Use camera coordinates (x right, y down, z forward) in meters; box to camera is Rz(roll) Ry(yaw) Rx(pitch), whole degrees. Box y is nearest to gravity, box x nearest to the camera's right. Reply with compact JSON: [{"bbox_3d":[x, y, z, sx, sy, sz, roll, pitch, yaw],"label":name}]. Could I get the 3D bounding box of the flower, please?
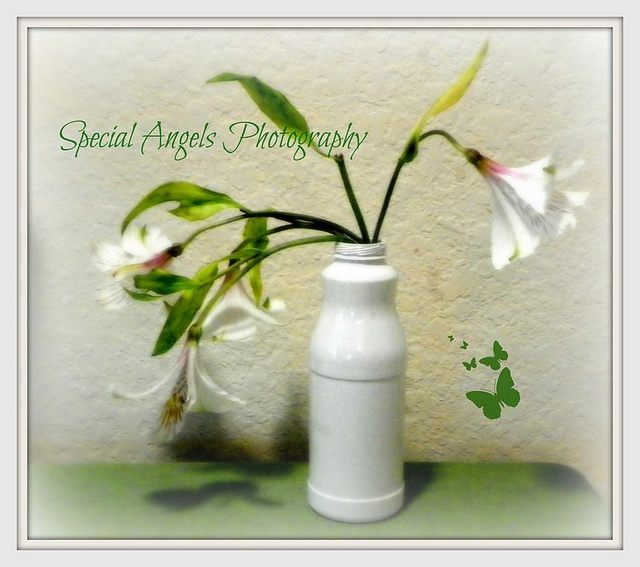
[{"bbox_3d":[0.001,-0.045,0.646,0.495,0.367,0.188,0,15,4],"label":"flower"}]
